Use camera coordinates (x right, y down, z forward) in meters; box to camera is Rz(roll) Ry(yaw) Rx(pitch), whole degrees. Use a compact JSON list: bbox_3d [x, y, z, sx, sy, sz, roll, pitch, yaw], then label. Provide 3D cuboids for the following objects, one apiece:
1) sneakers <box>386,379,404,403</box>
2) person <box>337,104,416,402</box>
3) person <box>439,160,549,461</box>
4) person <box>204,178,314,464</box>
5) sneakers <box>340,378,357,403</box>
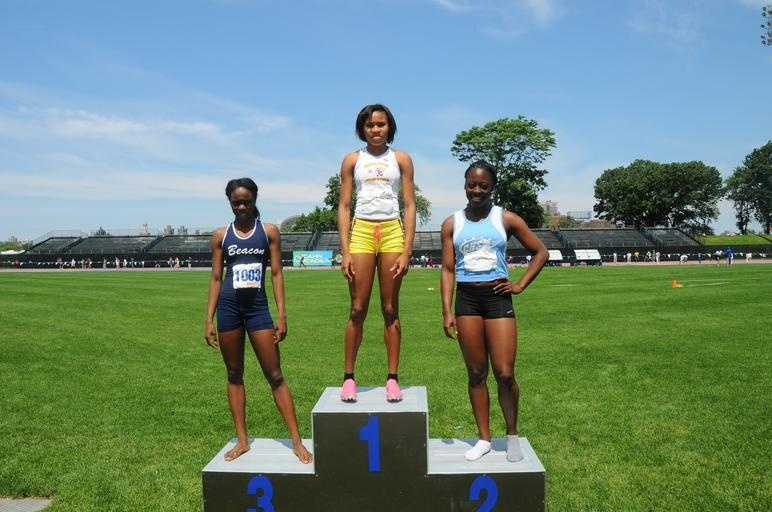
[{"bbox_3d":[0.102,1.618,6.675,0.214,0.169,0.417,-1,1,0],"label":"sneakers"},{"bbox_3d":[-0.104,-0.129,7.129,1.022,2.592,0.899,-1,1,-2],"label":"person"},{"bbox_3d":[1.269,0.569,6.707,1.169,3.507,0.853,-1,1,7],"label":"person"},{"bbox_3d":[-1.659,0.686,6.839,1.233,2.867,0.856,-1,1,-3],"label":"person"},{"bbox_3d":[-0.451,1.620,6.682,0.205,0.185,0.404,-1,1,-4],"label":"sneakers"}]
